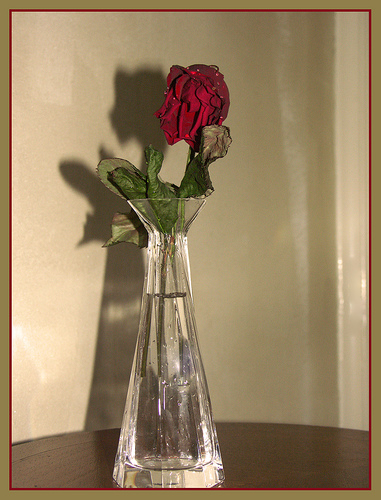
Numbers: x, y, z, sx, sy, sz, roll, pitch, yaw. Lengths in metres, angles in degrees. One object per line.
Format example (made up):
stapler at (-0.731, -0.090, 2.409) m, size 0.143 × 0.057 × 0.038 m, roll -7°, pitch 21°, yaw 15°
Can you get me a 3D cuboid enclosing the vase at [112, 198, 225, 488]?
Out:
vase at (-0.015, 0.096, 0.509) m, size 0.116 × 0.300 × 0.065 m, roll 3°, pitch -2°, yaw -4°
